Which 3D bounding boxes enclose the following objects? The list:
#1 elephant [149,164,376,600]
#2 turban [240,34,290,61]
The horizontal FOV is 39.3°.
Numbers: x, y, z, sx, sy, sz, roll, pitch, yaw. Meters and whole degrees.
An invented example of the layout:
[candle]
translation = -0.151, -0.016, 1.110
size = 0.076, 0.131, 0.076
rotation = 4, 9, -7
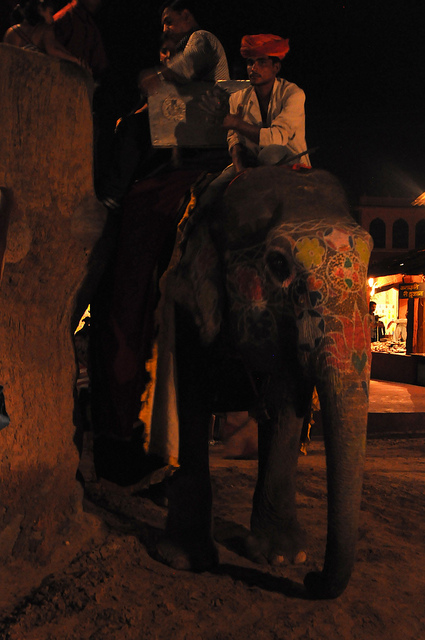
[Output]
[elephant]
translation = 0.230, 0.284, 3.045
size = 0.956, 1.783, 2.043
rotation = 5, -7, -13
[turban]
translation = 0.246, -1.299, 2.824
size = 0.220, 0.112, 0.109
rotation = 3, 0, 2
